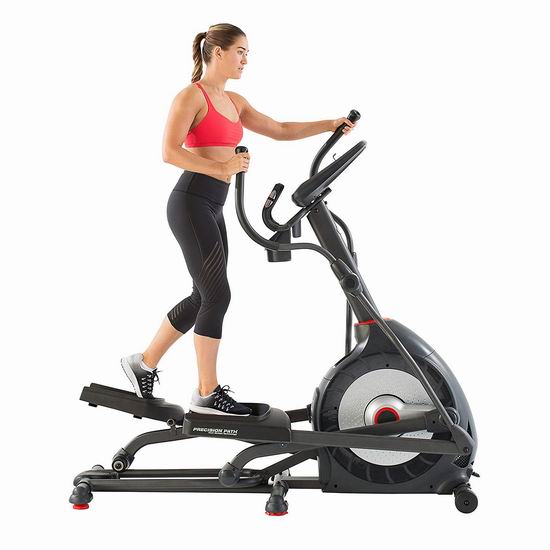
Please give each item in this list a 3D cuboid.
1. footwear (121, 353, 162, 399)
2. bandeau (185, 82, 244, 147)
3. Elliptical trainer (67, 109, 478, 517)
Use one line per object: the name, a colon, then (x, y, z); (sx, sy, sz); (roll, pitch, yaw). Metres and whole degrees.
footwear: (-0.615, 0.448, 2.790); (0.102, 0.239, 0.068); (-10, -60, -33)
bandeau: (-0.263, -0.708, 2.670); (0.221, 0.354, 0.284); (6, -80, 24)
Elliptical trainer: (-0.013, 0.291, 2.711); (1.787, 0.694, 1.399); (-2, -96, 3)
